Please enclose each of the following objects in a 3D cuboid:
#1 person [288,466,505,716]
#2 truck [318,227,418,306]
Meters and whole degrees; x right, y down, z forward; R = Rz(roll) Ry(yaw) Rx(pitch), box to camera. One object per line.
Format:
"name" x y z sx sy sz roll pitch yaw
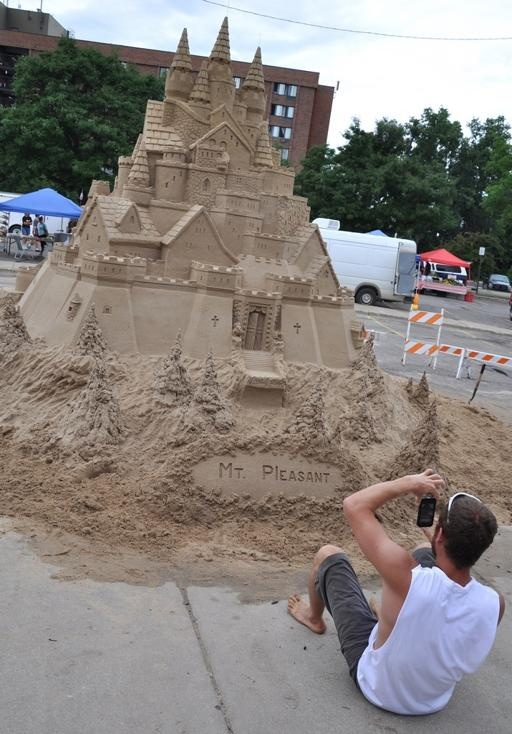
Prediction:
"person" 0.697 0.902 2.774 0.785 0.922 1.190 4 8 -13
"truck" 4.939 -4.205 24.779 3.575 3.451 1.848 6 0 9
